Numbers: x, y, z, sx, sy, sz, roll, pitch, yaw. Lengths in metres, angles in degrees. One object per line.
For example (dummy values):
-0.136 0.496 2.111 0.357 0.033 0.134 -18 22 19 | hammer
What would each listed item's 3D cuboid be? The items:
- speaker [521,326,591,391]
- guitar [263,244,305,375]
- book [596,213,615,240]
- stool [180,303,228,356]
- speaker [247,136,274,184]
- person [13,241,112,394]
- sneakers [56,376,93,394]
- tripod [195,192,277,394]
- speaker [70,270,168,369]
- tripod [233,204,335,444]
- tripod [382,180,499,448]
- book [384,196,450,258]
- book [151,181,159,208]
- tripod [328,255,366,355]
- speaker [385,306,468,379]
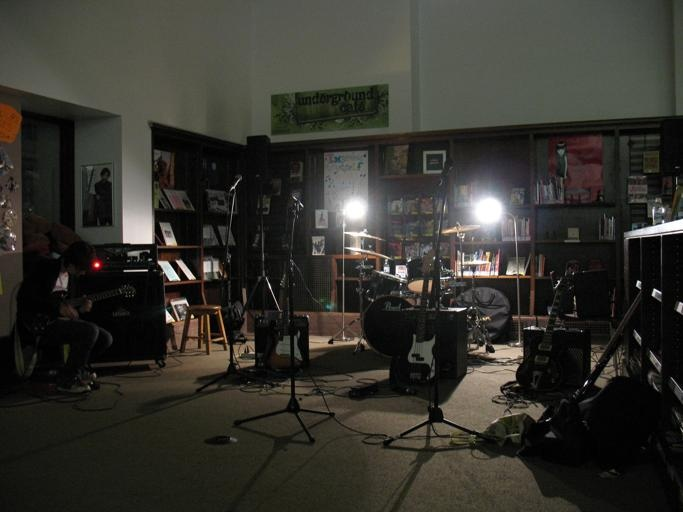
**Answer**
2.057 1.041 5.457 0.629 0.647 0.368 -12 -32 42 | speaker
-0.569 0.578 5.862 0.483 1.487 0.225 -5 26 -24 | guitar
3.682 -0.391 7.900 0.234 0.392 0.365 0 -2 12 | book
-1.830 0.951 7.364 0.589 0.597 0.545 1 -2 -42 | stool
-1.313 -1.471 8.935 0.386 0.961 0.310 2 -5 -9 | speaker
-2.817 0.588 5.854 0.676 1.471 0.903 -1 1 -3 | person
-2.642 1.282 5.533 0.242 0.129 0.175 0 -3 25 | sneakers
-1.216 0.284 5.884 0.676 2.195 0.723 -2 -13 -5 | tripod
-2.374 0.652 6.620 0.887 1.031 0.720 -1 0 7 | speaker
-0.457 0.697 4.514 0.459 1.425 0.542 1 15 6 | tripod
0.869 0.348 5.534 0.755 2.095 2.776 -1 1 8 | tripod
1.082 -0.409 7.956 0.781 0.875 0.272 0 -1 16 | book
-2.486 -0.828 7.469 0.053 0.378 0.369 -1 1 -11 | book
0.240 0.637 8.468 0.803 1.406 0.875 5 0 -11 | tripod
0.849 1.121 6.013 0.824 0.807 0.742 6 -43 1 | speaker
